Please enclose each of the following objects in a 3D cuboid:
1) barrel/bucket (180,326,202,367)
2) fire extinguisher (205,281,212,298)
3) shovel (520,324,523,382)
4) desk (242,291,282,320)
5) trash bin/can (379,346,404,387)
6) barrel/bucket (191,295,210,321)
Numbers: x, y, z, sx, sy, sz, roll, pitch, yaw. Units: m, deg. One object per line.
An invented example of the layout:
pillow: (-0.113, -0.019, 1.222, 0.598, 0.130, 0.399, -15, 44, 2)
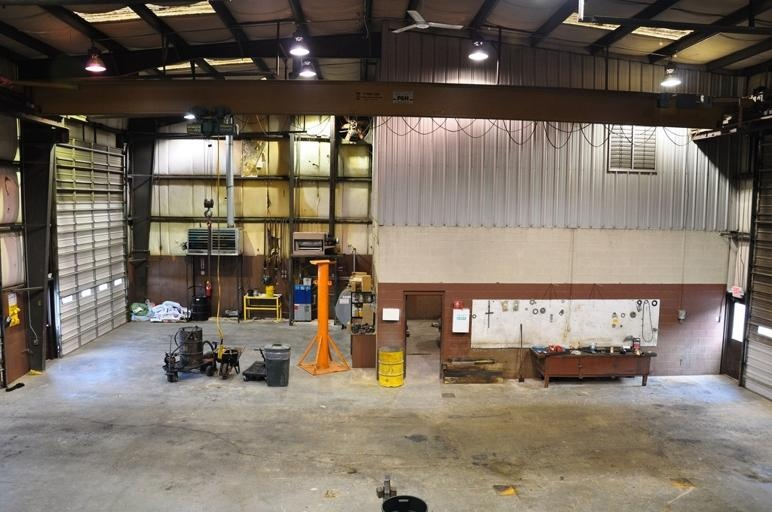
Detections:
barrel/bucket: (-6.073, 2.878, 18.711, 0.678, 1.272, 0.385, 0, 4, -19)
fire extinguisher: (-7.419, 1.413, 25.050, 0.277, 0.715, 0.491, 0, 3, -17)
shovel: (4.353, 3.105, 19.107, 0.156, 1.800, 0.274, 1, 4, 12)
desk: (-5.180, 2.116, 25.437, 1.929, 1.317, 1.013, 1, 2, -2)
trash bin/can: (-0.037, 3.471, 18.868, 1.063, 1.076, 1.050, 0, -2, -5)
barrel/bucket: (-7.675, 2.213, 24.998, 0.887, 0.907, 0.874, 0, -4, 0)
